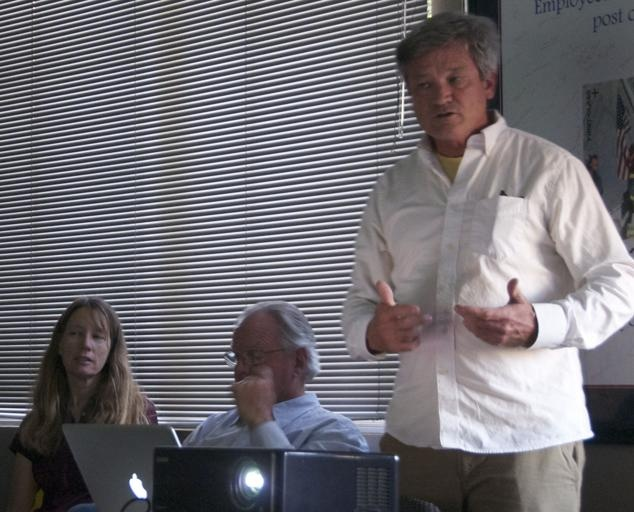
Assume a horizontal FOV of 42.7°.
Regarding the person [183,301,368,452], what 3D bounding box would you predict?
[{"bbox_3d":[-0.151,0.457,2.868,0.453,0.583,0.762,4,-6,-35],"label":"person"}]
